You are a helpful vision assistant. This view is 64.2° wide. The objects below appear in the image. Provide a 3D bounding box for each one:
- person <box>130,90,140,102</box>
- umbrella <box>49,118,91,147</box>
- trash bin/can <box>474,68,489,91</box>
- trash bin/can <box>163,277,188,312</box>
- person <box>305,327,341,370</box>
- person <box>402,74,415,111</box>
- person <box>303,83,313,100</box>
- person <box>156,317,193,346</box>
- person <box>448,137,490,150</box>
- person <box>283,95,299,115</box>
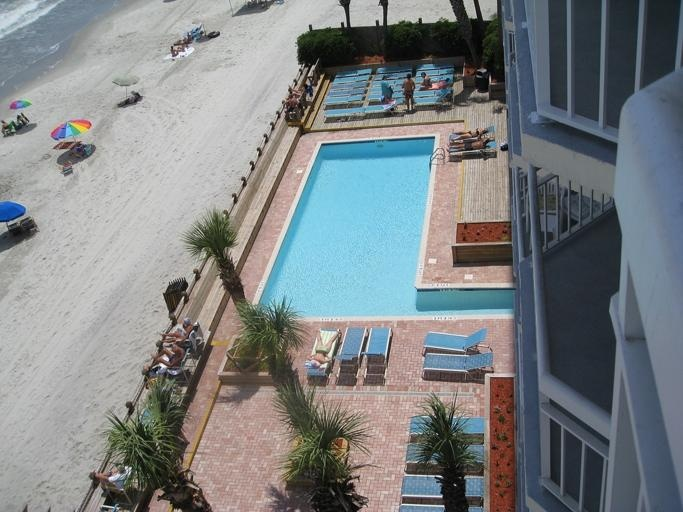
[{"bbox_3d":[-13.389,-10.413,35.546,0.593,0.223,0.845,-3,58,-17],"label":"person"},{"bbox_3d":[-15.674,-7.075,31.571,1.844,1.274,1.981,-1,55,5],"label":"umbrella"},{"bbox_3d":[6.908,-8.679,26.780,0.714,1.299,0.721,20,63,26],"label":"trash bin/can"},{"bbox_3d":[-5.921,1.407,19.452,0.516,0.536,0.985,-37,46,15],"label":"trash bin/can"},{"bbox_3d":[-0.631,2.784,16.323,0.867,0.606,2.109,13,31,5],"label":"person"},{"bbox_3d":[3.298,-8.044,26.823,0.510,1.515,1.068,-7,33,7],"label":"person"},{"bbox_3d":[-1.791,-9.008,29.523,0.595,0.919,0.316,-7,1,-3],"label":"person"},{"bbox_3d":[-5.241,2.420,17.175,1.056,0.598,0.718,-16,78,-23],"label":"person"},{"bbox_3d":[5.319,-4.676,22.873,1.148,0.201,0.724,-9,43,17],"label":"person"},{"bbox_3d":[-2.486,-7.473,27.271,0.768,0.851,1.011,-8,33,5],"label":"person"}]
